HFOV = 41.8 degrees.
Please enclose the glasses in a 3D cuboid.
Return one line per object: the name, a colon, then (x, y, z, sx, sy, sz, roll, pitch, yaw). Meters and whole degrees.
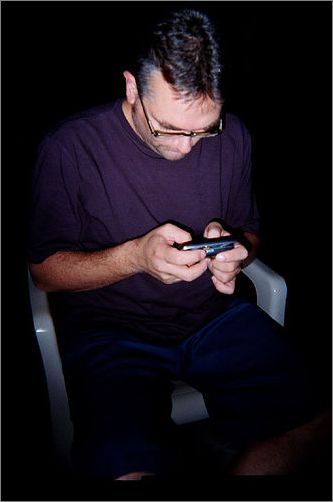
glasses: (0.050, -0.413, 1.361, 0.268, 0.132, 0.105, 0, 26, -4)
